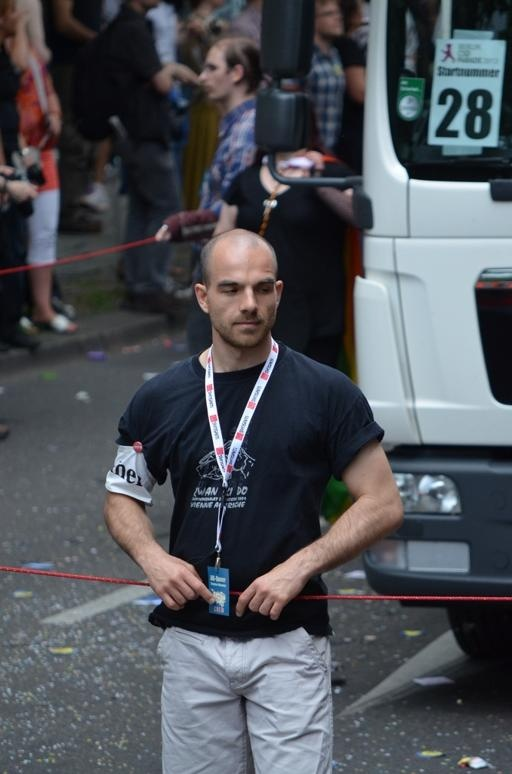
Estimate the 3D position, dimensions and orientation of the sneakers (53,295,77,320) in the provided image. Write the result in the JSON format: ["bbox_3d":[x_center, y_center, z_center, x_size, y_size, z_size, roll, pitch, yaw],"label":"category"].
[{"bbox_3d":[-1.156,-0.477,4.941,0.062,0.179,0.073,-41,-15,24],"label":"sneakers"}]
